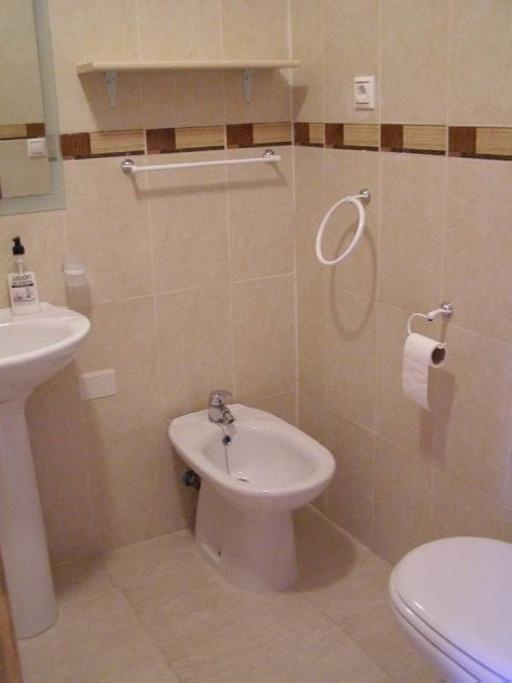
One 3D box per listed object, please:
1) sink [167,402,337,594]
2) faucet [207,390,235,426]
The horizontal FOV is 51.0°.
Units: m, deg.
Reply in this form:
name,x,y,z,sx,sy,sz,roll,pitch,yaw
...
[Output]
name,x,y,z,sx,sy,sz,roll,pitch,yaw
sink,-0.023,0.545,1.788,0.379,0.470,0.562,-9,20,-36
faucet,-0.129,0.231,1.870,0.064,0.140,0.127,-4,7,-32
